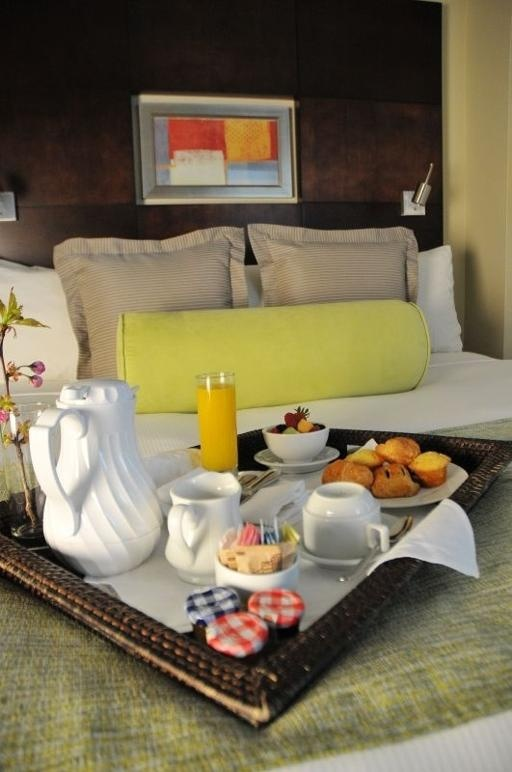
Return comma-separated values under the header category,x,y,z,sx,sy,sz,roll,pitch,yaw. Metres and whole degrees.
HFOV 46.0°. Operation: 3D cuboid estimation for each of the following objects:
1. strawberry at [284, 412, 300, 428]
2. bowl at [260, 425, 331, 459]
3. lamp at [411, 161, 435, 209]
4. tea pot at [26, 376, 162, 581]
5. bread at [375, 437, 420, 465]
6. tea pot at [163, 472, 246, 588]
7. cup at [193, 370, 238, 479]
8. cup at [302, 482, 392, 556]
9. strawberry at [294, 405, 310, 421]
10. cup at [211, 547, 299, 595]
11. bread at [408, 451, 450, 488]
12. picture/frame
category,x,y,z,sx,sy,sz,roll,pitch,yaw
strawberry,0.058,0.058,1.039,0.027,0.037,0.023,-1,-13,-7
bowl,0.067,0.097,1.001,0.103,0.060,0.098,-2,11,0
lamp,0.836,-0.993,2.970,0.079,0.213,0.211,5,14,34
tea pot,-0.174,0.100,0.622,0.081,0.202,0.137,7,15,40
bread,0.209,0.088,0.886,0.047,0.013,0.042,-22,28,-39
tea pot,-0.050,0.135,0.607,0.076,0.089,0.107,4,19,8
cup,-0.064,0.065,1.009,0.063,0.156,0.132,-3,11,-4
cup,0.096,0.143,0.629,0.059,0.056,0.091,-6,12,-12
strawberry,0.091,0.054,1.176,0.027,0.024,0.027,32,0,-30
cup,0.003,0.170,0.543,0.077,0.034,0.045,-3,11,-4
bread,0.240,0.115,0.829,0.050,0.036,0.047,3,11,43
picture/frame,-0.209,-1.055,2.639,0.589,0.367,0.042,-3,8,-12
